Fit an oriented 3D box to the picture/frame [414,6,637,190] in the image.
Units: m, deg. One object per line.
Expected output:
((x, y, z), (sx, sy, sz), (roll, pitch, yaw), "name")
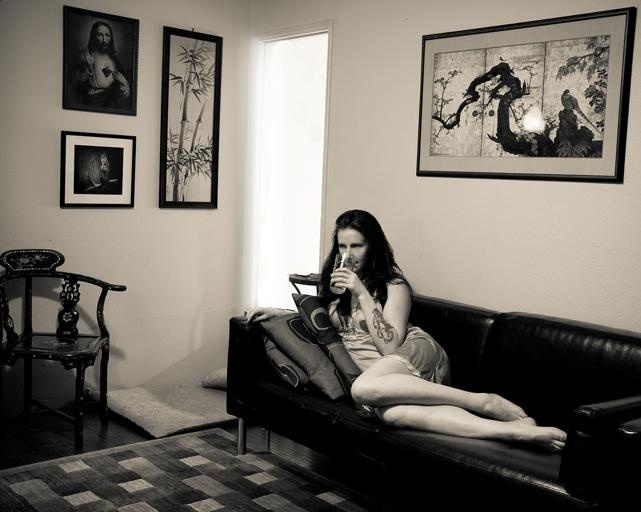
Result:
((1.104, -0.833, 2.638), (1.007, 0.771, 0.042), (6, 9, 43), "picture/frame")

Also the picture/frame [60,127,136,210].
((-1.523, -0.595, 3.396), (0.517, 0.589, 0.041), (-3, 9, -36), "picture/frame")

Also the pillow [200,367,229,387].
((-0.773, 0.874, 3.716), (0.168, 0.086, 0.178), (1, -4, -5), "pillow")

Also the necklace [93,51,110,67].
((-1.454, -1.313, 3.367), (0.031, 0.077, 0.094), (-2, -25, 46), "necklace")

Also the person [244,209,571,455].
((0.317, 0.287, 2.268), (0.602, 0.944, 1.664), (-9, 5, -16), "person")
